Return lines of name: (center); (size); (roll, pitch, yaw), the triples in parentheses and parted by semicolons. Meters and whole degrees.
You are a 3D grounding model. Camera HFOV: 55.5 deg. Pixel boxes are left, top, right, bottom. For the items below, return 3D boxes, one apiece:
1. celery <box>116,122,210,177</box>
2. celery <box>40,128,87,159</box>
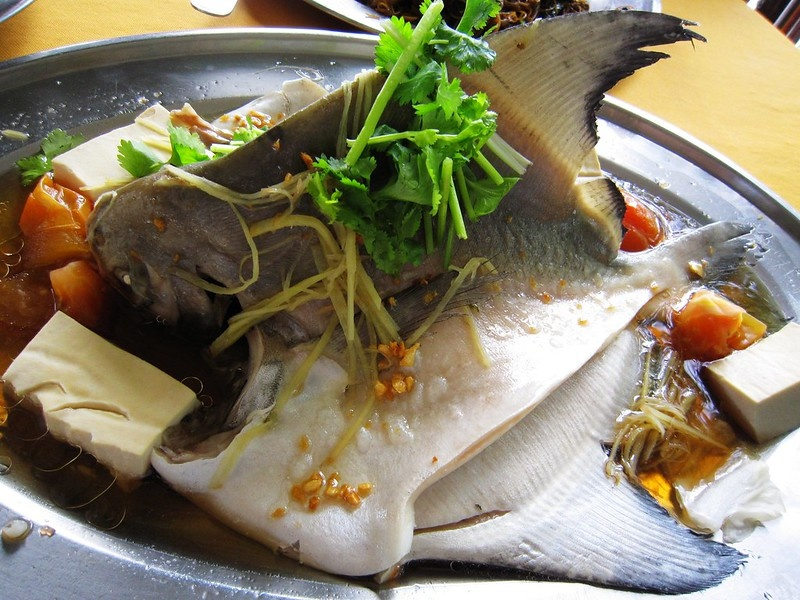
celery: (-0.715, -0.428, 2.257); (0.209, 0.046, 0.196); (-17, 43, -18)
celery: (-1.076, -0.497, 2.435); (0.124, 0.030, 0.106); (-2, 71, -10)
